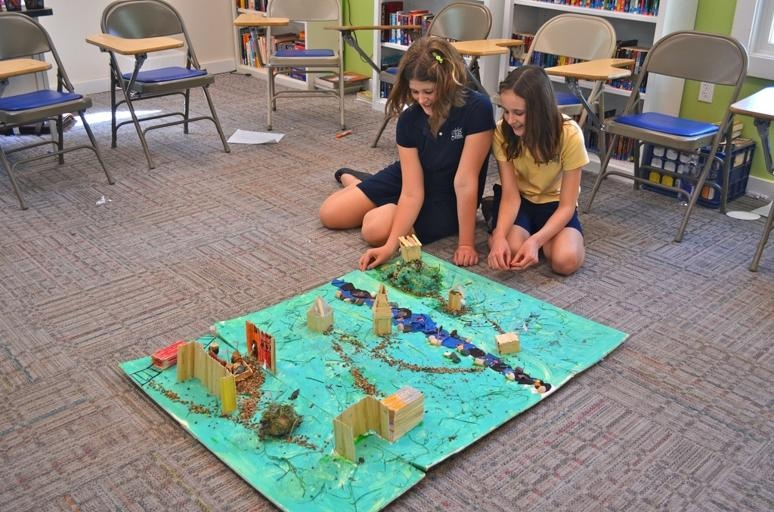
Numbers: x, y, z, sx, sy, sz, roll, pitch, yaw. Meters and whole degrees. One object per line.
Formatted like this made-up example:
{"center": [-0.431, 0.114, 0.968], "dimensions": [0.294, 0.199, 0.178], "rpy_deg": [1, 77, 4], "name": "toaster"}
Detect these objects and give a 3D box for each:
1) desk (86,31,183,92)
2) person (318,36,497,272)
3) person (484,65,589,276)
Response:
{"center": [-1.869, -1.333, 3.853], "dimensions": [0.572, 0.354, 0.517], "rpy_deg": [29, 37, 28], "name": "desk"}
{"center": [0.100, -0.546, 2.772], "dimensions": [0.898, 1.091, 0.607], "rpy_deg": [6, 30, 9], "name": "person"}
{"center": [0.801, -0.392, 2.607], "dimensions": [0.558, 0.983, 0.592], "rpy_deg": [6, 30, 9], "name": "person"}
